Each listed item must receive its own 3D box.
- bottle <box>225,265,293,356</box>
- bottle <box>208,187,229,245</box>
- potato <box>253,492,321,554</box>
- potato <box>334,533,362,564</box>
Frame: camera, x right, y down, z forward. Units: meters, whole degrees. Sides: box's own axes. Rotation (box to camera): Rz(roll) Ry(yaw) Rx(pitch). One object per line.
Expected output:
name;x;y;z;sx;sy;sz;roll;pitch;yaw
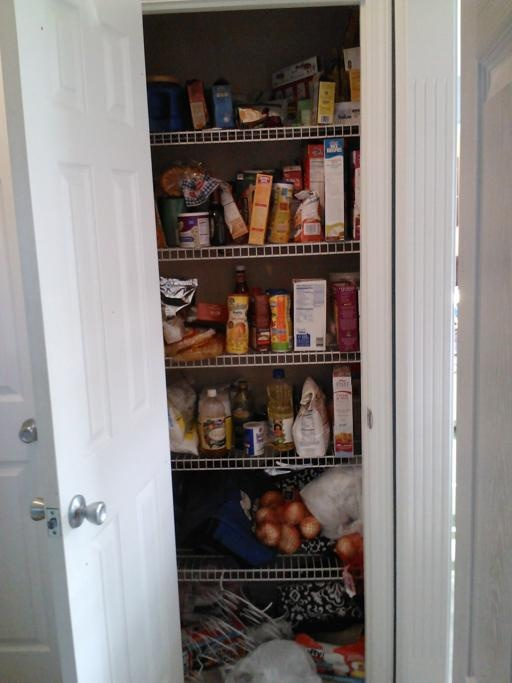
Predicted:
bottle;0.038;-0.085;1.864;0.221;0.332;0.260;0;0;-3
bottle;-0.114;-0.373;1.800;0.053;0.169;0.078;-3;8;2
potato;0.092;0.586;1.930;0.166;0.070;0.177;23;53;4
potato;0.283;0.628;1.839;0.064;0.067;0.085;-3;0;3
